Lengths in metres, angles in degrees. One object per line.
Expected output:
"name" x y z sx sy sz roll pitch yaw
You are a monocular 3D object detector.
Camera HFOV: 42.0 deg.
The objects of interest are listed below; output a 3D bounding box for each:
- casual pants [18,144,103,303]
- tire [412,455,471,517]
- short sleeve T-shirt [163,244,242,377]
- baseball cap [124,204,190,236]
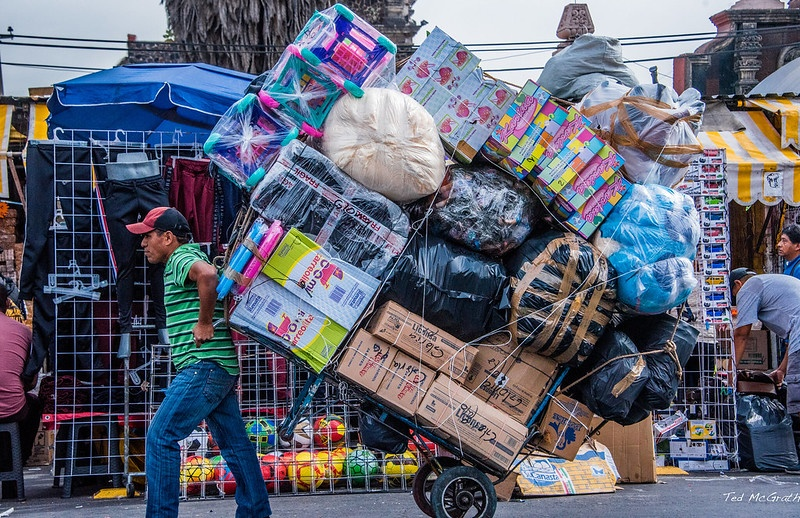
"casual pants" -3.868 -0.424 11.750 0.766 1.784 0.197 3 1 6
"tire" 0.432 2.259 10.368 0.682 0.653 0.237 11 5 1
"short sleeve T-shirt" -1.900 0.487 10.099 0.588 1.272 1.007 -7 -19 -19
"baseball cap" -2.360 -0.378 10.325 0.482 0.191 0.300 1 -4 1
